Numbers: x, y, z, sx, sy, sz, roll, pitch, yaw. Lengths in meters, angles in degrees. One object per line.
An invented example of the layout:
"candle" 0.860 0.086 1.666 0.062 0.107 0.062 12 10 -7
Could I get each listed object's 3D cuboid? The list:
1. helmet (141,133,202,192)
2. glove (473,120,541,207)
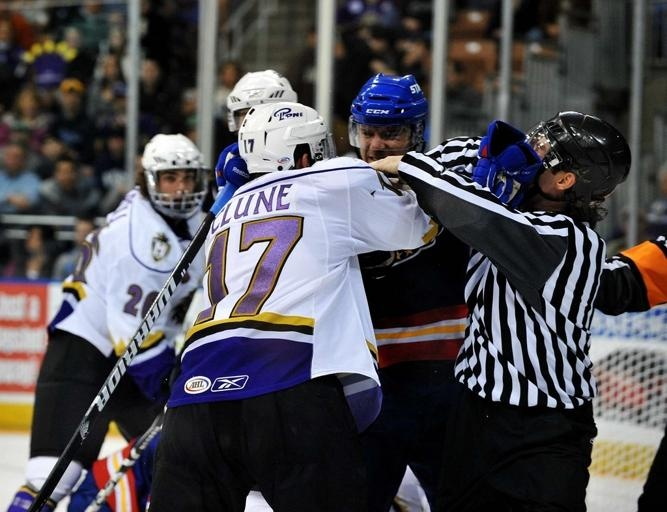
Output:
"helmet" -0.908 -0.557 6.806 0.298 0.315 0.351 2 -12 -30
"glove" 0.774 -0.420 5.404 0.286 0.399 0.166 -1 5 -22
